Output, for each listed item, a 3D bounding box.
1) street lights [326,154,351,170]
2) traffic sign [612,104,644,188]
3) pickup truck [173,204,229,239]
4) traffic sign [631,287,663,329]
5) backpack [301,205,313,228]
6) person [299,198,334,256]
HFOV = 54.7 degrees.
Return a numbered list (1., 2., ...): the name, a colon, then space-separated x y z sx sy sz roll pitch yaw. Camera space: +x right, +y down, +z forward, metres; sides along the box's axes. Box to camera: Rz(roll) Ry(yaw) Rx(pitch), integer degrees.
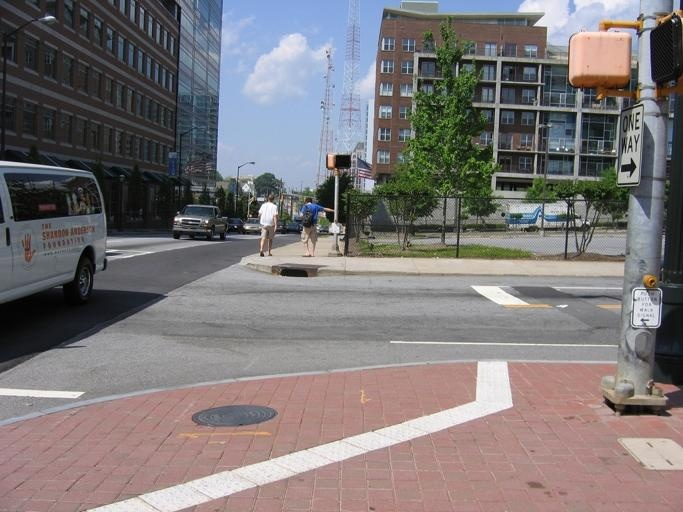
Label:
1. street lights: -0.160 -3.227 22.611 0.884 0.648 0.527 0 2 -9
2. traffic sign: 2.737 -1.043 6.284 0.524 0.766 0.013 -12 15 -42
3. pickup truck: -7.729 -1.790 35.638 1.676 1.947 3.826 1 5 10
4. traffic sign: 2.906 0.488 6.321 0.359 0.541 0.059 2 3 19
5. backpack: -1.167 -1.303 21.802 0.383 0.679 0.645 0 1 -4
6. person: -1.095 -1.038 22.231 0.790 2.515 1.192 0 0 12
